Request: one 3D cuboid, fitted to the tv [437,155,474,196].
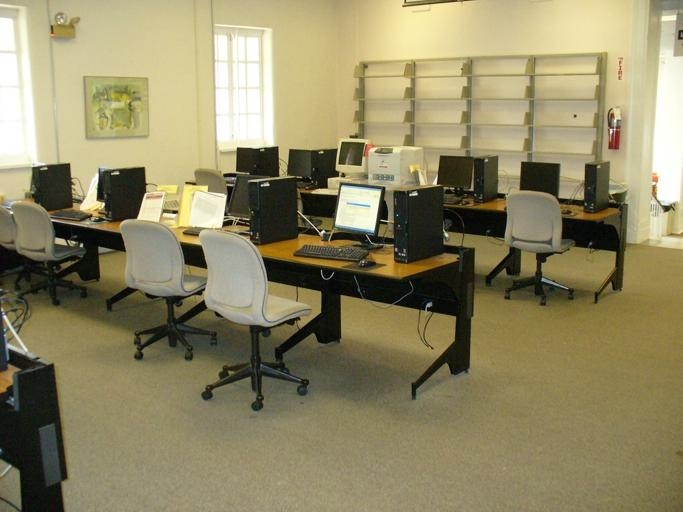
[{"bbox_3d":[1.472,-0.973,6.804,0.541,0.506,0.388,-3,17,-27],"label":"tv"}]

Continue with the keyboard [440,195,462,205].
[{"bbox_3d":[1.333,-0.666,6.494,0.189,0.036,0.135,17,34,40],"label":"keyboard"}]

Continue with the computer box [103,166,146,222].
[{"bbox_3d":[-2.235,-0.665,5.714,0.464,0.502,0.419,2,16,-4],"label":"computer box"}]

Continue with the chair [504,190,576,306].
[{"bbox_3d":[2.111,-0.129,5.817,0.750,1.175,0.662,0,15,2],"label":"chair"}]

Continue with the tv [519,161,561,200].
[{"bbox_3d":[2.270,-0.864,6.238,0.549,0.518,0.178,11,19,39],"label":"tv"}]

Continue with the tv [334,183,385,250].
[{"bbox_3d":[0.140,-0.311,4.383,0.472,0.541,0.271,9,12,41],"label":"tv"}]

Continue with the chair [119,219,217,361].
[{"bbox_3d":[-1.476,0.237,4.633,0.719,1.085,0.768,4,5,20],"label":"chair"}]

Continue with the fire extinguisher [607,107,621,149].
[{"bbox_3d":[3.951,-1.839,7.882,0.220,0.617,0.241,6,16,25],"label":"fire extinguisher"}]

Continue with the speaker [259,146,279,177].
[{"bbox_3d":[-1.104,-1.500,8.633,0.145,0.458,0.395,6,16,24],"label":"speaker"}]

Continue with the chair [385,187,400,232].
[{"bbox_3d":[0.547,-0.509,5.860,0.149,0.253,0.191,-13,22,-16],"label":"chair"}]

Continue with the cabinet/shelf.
[{"bbox_3d":[2.231,-2.332,9.091,3.965,1.972,0.883,7,16,25],"label":"cabinet/shelf"}]

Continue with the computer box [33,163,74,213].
[{"bbox_3d":[-3.254,-0.761,6.126,0.335,0.619,0.471,13,17,32],"label":"computer box"}]

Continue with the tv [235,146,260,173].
[{"bbox_3d":[-1.459,-1.507,8.510,0.216,0.400,0.415,-5,6,-43],"label":"tv"}]

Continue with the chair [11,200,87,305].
[{"bbox_3d":[-3.156,-0.067,5.897,0.646,1.034,0.680,7,8,26],"label":"chair"}]

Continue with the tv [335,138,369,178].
[{"bbox_3d":[0.203,-1.389,7.774,0.343,0.541,0.776,-9,17,-29],"label":"tv"}]
